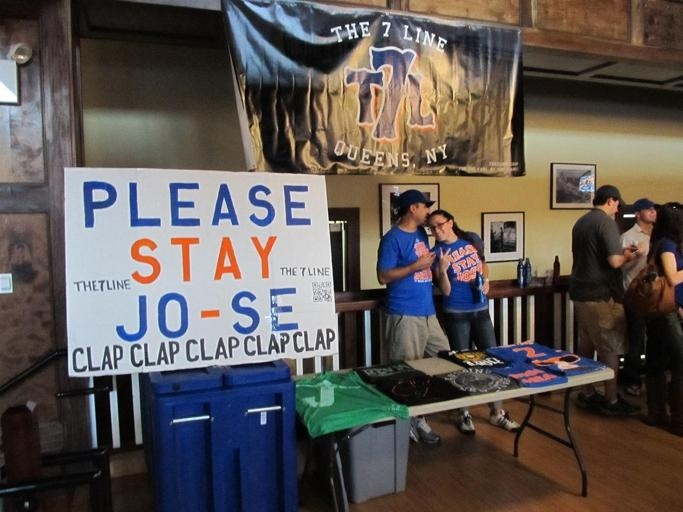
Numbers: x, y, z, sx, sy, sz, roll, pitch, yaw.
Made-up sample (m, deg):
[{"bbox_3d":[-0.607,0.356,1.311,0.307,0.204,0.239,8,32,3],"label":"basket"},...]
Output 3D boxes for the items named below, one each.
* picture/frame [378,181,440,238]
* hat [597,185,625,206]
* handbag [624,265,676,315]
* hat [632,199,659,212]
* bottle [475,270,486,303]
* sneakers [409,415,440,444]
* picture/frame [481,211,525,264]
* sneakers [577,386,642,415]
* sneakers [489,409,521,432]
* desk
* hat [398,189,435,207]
[{"bbox_3d":[0.764,-0.508,7.072,0.739,0.674,0.031,2,6,33],"label":"picture/frame"},{"bbox_3d":[2.437,-0.547,5.742,0.221,0.146,0.157,-14,13,-23],"label":"hat"},{"bbox_3d":[2.680,0.297,5.475,0.368,0.469,0.238,-6,-12,35],"label":"handbag"},{"bbox_3d":[2.977,-0.506,6.259,0.166,0.094,0.125,-12,2,42],"label":"hat"},{"bbox_3d":[1.215,0.273,5.496,0.057,0.280,0.156,0,4,37],"label":"bottle"},{"bbox_3d":[0.681,1.485,5.469,0.142,0.174,0.350,5,1,-41],"label":"sneakers"},{"bbox_3d":[1.916,-0.240,7.607,0.573,0.624,0.022,-2,-1,-30],"label":"picture/frame"},{"bbox_3d":[2.456,1.316,5.864,0.197,0.254,0.542,0,-1,-44],"label":"sneakers"},{"bbox_3d":[1.446,1.450,5.594,0.112,0.127,0.251,-1,2,-41],"label":"sneakers"},{"bbox_3d":[0.728,1.282,4.592,2.170,1.051,0.745,-3,3,-15],"label":"desk"},{"bbox_3d":[0.646,-0.499,5.317,0.289,0.164,0.209,-19,10,-10],"label":"hat"}]
